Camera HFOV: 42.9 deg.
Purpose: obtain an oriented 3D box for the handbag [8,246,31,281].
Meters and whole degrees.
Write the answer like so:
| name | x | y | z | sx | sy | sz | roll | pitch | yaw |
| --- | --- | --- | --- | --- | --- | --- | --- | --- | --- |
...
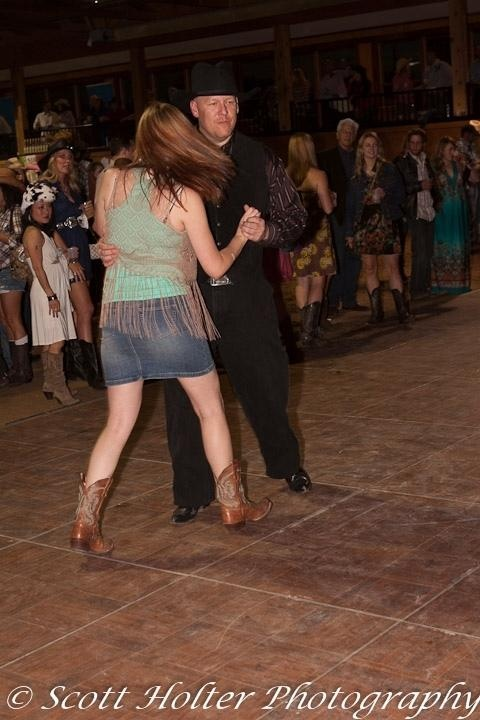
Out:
| name | x | y | z | sx | sy | sz | roll | pitch | yaw |
| --- | --- | --- | --- | --- | --- | --- | --- | --- | --- |
| handbag | -2.308 | -0.998 | 6.355 | 0.363 | 0.319 | 0.142 | 7 | 15 | 37 |

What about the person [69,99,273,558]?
| name | x | y | z | sx | sy | sz | roll | pitch | yaw |
| --- | --- | --- | --- | --- | --- | --- | --- | --- | --- |
| person | -0.345 | -0.075 | 2.392 | 0.719 | 1.770 | 0.491 | -5 | 3 | -14 |

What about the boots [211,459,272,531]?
| name | x | y | z | sx | sy | sz | roll | pitch | yaw |
| --- | --- | --- | --- | --- | --- | --- | --- | --- | --- |
| boots | 0.011 | 0.597 | 2.762 | 0.149 | 0.279 | 0.316 | -9 | -5 | 36 |

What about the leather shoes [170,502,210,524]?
| name | x | y | z | sx | sy | sz | roll | pitch | yaw |
| --- | --- | --- | --- | --- | --- | --- | --- | --- | --- |
| leather shoes | -0.247 | 0.748 | 3.038 | 0.071 | 0.069 | 0.197 | 7 | 11 | 42 |
